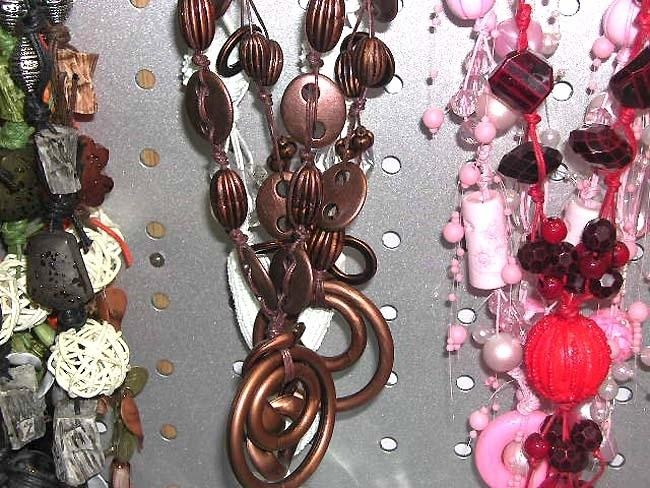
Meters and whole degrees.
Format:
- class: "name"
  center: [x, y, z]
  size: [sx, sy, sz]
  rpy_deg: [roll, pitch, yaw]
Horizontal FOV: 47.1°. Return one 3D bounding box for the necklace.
- class: "necklace"
  center: [-0.187, -0.036, 1.121]
  size: [0.535, 0.787, 0.014]
  rpy_deg: [-2, 15, 1]
